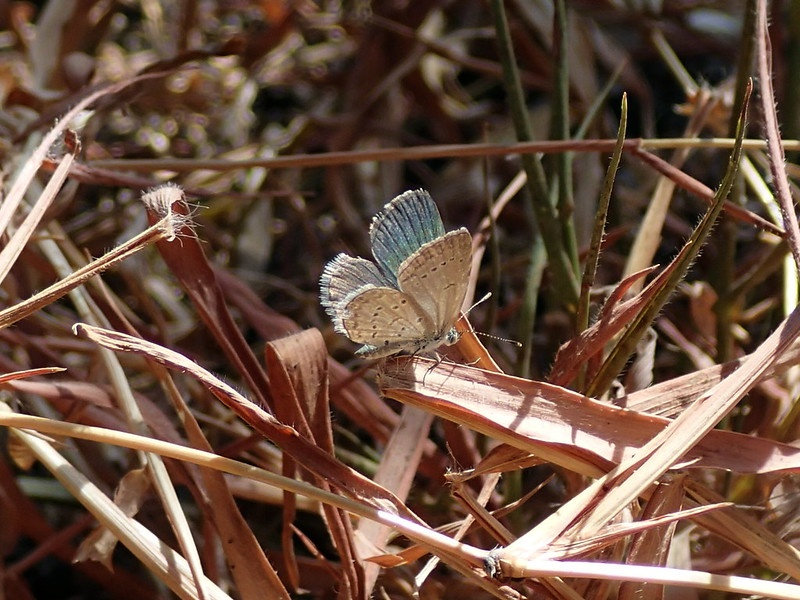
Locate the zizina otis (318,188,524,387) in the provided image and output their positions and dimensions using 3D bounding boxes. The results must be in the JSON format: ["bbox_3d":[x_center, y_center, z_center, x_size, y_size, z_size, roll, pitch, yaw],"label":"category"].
[{"bbox_3d":[0.003,-0.017,1.207,0.221,0.160,0.231,0,8,-10],"label":"zizina otis"}]
